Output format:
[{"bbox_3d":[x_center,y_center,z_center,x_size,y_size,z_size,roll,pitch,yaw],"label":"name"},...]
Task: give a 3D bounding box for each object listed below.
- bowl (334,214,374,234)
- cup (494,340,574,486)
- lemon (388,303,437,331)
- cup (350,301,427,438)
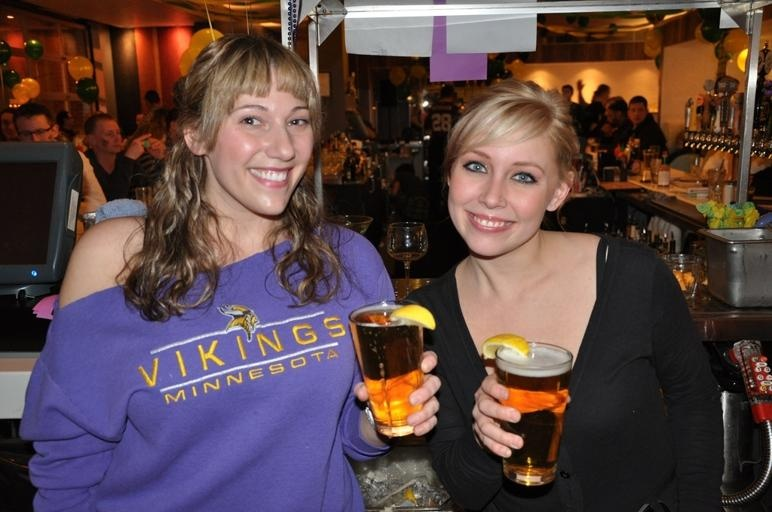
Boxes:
[{"bbox_3d":[-0.184,-0.178,3.417,0.167,0.065,0.154,2,11,0],"label":"bowl"},{"bbox_3d":[0.454,0.500,1.965,0.222,0.454,0.143,-3,11,2],"label":"cup"},{"bbox_3d":[0.073,0.193,1.969,0.215,0.102,0.043,3,-8,-9],"label":"lemon"},{"bbox_3d":[0.009,0.378,2.004,0.223,0.442,0.143,-4,11,-5],"label":"cup"}]
